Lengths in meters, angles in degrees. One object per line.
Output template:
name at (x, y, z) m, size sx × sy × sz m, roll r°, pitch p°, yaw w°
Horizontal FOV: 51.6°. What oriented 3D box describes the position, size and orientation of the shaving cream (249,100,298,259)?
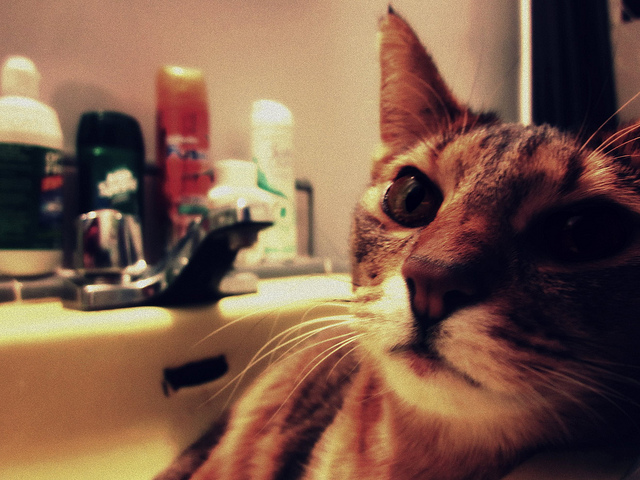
shaving cream at (-0.077, -0.091, 1.059) m, size 0.073 × 0.274 × 0.080 m, roll 1°, pitch 1°, yaw 13°
